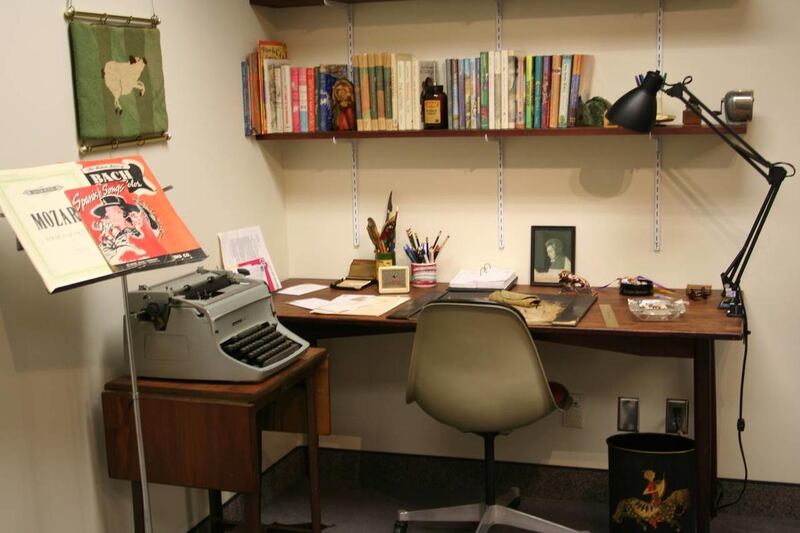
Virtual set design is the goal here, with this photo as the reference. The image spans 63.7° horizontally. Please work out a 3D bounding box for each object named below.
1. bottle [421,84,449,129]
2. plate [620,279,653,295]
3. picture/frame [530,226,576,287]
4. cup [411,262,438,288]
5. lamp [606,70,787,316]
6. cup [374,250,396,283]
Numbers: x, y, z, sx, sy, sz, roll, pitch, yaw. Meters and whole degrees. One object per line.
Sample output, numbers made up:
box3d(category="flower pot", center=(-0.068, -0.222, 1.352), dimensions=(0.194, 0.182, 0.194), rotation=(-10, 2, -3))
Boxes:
box3d(category="bottle", center=(0.167, -0.768, 3.137), dimensions=(0.129, 0.201, 0.060), rotation=(-2, 16, 2))
box3d(category="plate", center=(1.118, 0.082, 3.069), dimensions=(0.096, 0.033, 0.094), rotation=(-2, 5, -36))
box3d(category="picture/frame", center=(0.778, -0.056, 3.250), dimensions=(0.304, 0.411, 0.033), rotation=(1, -1, 6))
box3d(category="cup", center=(0.123, 0.043, 3.292), dimensions=(0.122, 0.117, 0.125), rotation=(1, -1, 0))
box3d(category="lamp", center=(1.366, -0.377, 2.969), dimensions=(0.740, 1.001, 0.637), rotation=(8, 19, 32))
box3d(category="cup", center=(-0.075, 0.003, 3.316), dimensions=(0.123, 0.203, 0.130), rotation=(1, 2, 0))
